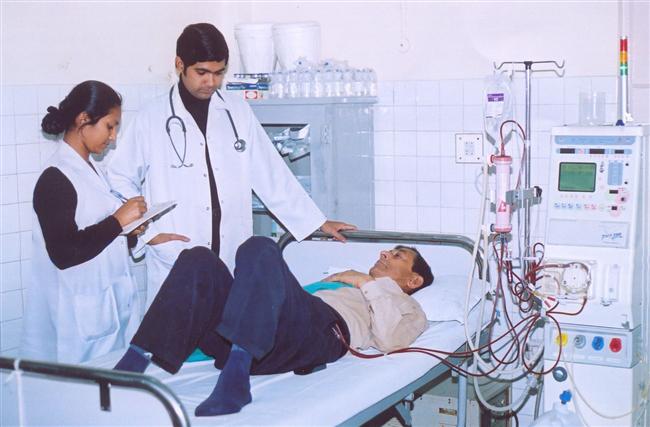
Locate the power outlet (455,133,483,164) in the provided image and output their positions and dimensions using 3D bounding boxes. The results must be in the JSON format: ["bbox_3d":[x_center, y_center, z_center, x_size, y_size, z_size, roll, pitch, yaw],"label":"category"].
[{"bbox_3d":[0.958,-0.441,4.376,0.183,0.195,0.027,3,10,21],"label":"power outlet"}]

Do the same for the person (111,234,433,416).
[{"bbox_3d":[-0.186,0.473,3.334,1.380,0.619,0.729,-2,0,-37],"label":"person"}]
